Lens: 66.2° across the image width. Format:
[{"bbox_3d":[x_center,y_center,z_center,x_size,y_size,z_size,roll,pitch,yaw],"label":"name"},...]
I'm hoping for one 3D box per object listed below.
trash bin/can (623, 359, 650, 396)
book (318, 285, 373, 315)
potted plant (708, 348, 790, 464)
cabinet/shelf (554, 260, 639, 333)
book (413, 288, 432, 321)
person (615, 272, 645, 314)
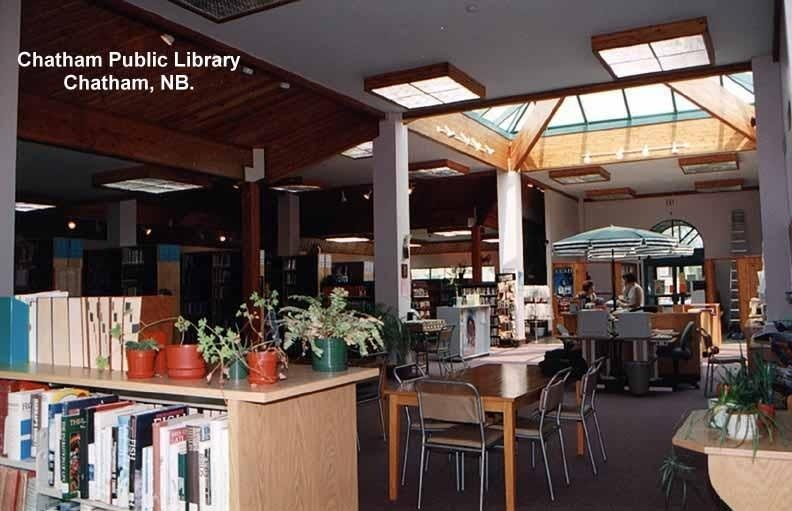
[{"bbox_3d":[4.180,2.087,10.608,0.615,0.582,0.495,1,-1,24],"label":"trash bin/can"},{"bbox_3d":[-0.851,0.771,10.705,0.961,0.881,0.330,-1,-7,6],"label":"book"},{"bbox_3d":[2.680,1.114,4.675,0.640,0.454,0.659,-1,1,9],"label":"potted plant"},{"bbox_3d":[5.189,1.016,16.067,2.458,2.216,0.775,1,-4,-13],"label":"cabinet/shelf"},{"bbox_3d":[0.803,1.544,19.056,0.325,0.920,1.024,-4,-5,19],"label":"book"},{"bbox_3d":[5.154,0.894,13.372,0.544,0.927,0.535,-2,5,18],"label":"person"}]
